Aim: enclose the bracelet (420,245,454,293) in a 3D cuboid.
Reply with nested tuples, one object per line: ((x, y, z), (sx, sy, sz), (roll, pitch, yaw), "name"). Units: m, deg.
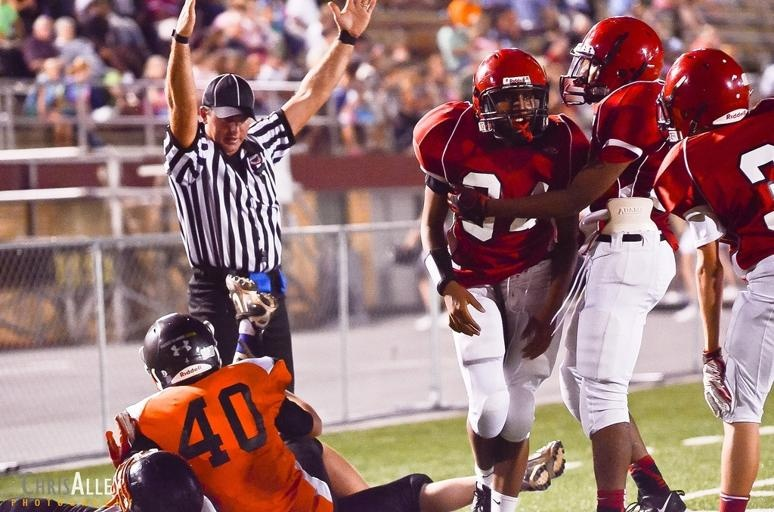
((0.347, 0.075, 7.416), (0.103, 0.261, 0.195), (-8, -6, 34), "bracelet")

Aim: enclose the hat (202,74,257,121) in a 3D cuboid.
((-1.012, -1.033, 7.708), (0.235, 0.202, 0.348), (-3, 28, -28), "hat")

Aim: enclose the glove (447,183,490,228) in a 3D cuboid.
((0.536, -0.310, 7.346), (0.247, 0.257, 0.192), (-3, 4, 14), "glove")

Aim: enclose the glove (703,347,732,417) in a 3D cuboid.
((2.111, 0.788, 7.431), (0.186, 0.368, 0.124), (-2, -14, -13), "glove")

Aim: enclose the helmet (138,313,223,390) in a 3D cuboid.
((-1.256, 0.505, 7.131), (0.363, 0.402, 0.466), (-19, 14, -9), "helmet")

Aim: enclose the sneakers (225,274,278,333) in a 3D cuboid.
((-0.895, 0.288, 7.744), (0.239, 0.392, 0.236), (-38, -18, -29), "sneakers")
